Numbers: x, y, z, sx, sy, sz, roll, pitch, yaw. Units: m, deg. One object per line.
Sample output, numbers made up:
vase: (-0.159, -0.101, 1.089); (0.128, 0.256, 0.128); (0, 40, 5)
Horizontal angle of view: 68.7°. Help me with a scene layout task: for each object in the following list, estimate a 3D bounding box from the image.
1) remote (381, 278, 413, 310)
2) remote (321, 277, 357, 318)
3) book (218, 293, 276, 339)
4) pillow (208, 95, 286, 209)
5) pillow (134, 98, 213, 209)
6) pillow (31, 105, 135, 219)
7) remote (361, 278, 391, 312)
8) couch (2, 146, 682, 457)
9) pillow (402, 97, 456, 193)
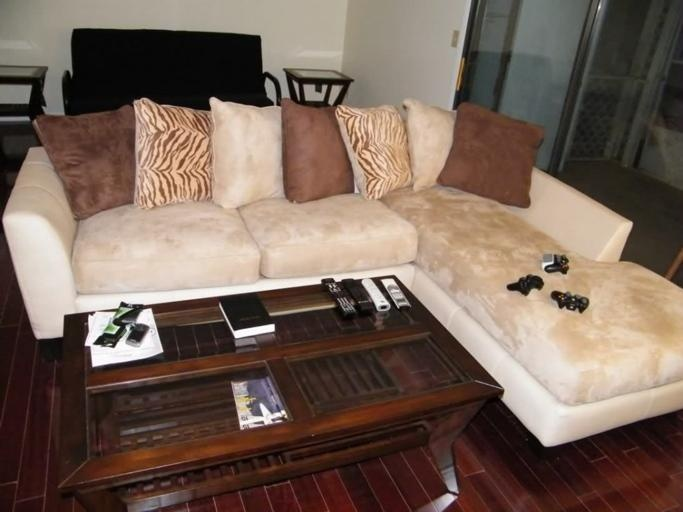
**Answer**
remote: (0.246, 0.182, 2.393); (0.071, 0.047, 0.243); (-3, 36, -22)
remote: (-0.009, 0.166, 2.330); (0.068, 0.287, 0.060); (-16, 49, 22)
book: (-0.398, 0.253, 2.107); (0.156, 0.047, 0.239); (-7, 37, -18)
pillow: (-0.555, -0.578, 2.905); (0.207, 0.584, 0.587); (-3, 7, 45)
pillow: (-0.932, -0.546, 2.743); (0.551, 0.548, 0.195); (-8, 12, -38)
pillow: (-1.454, -0.453, 2.779); (0.172, 0.554, 0.578); (-11, 13, 41)
remote: (0.161, 0.186, 2.359); (0.067, 0.051, 0.202); (-7, 33, -14)
couch: (0.244, 0.306, 2.769); (2.212, 0.627, 1.993); (-12, 42, -19)
pillow: (0.580, -0.738, 3.304); (0.533, 0.530, 0.160); (-5, 12, -36)
